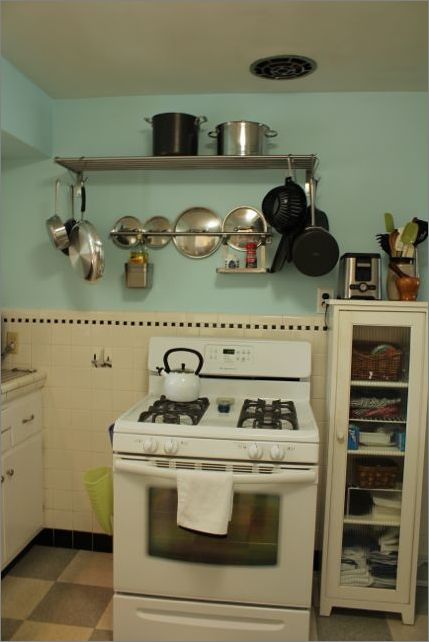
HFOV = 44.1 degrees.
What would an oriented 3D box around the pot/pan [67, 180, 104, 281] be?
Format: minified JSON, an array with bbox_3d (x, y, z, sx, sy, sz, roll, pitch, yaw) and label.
[{"bbox_3d":[-0.566,-0.376,2.302,0.057,0.385,0.233,-6,4,-30],"label":"pot/pan"}]

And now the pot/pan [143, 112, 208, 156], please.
[{"bbox_3d":[-0.164,-0.787,2.243,0.259,0.185,0.165,2,6,2],"label":"pot/pan"}]

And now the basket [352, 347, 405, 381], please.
[{"bbox_3d":[0.641,0.167,2.074,0.171,0.117,0.129,-2,-1,17],"label":"basket"}]

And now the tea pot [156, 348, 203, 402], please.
[{"bbox_3d":[-0.137,0.204,2.044,0.183,0.197,0.148,2,7,9],"label":"tea pot"}]

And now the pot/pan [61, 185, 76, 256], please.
[{"bbox_3d":[-0.665,-0.471,2.436,0.047,0.295,0.176,-4,-2,-2],"label":"pot/pan"}]

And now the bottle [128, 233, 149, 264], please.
[{"bbox_3d":[-0.346,-0.331,2.426,0.081,0.131,0.105,1,6,-6],"label":"bottle"}]

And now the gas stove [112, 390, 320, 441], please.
[{"bbox_3d":[0.039,0.278,2.025,0.712,0.120,0.642,2,5,7],"label":"gas stove"}]

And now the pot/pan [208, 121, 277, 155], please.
[{"bbox_3d":[0.116,-0.757,2.242,0.243,0.120,0.166,0,-2,-1],"label":"pot/pan"}]

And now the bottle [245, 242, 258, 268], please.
[{"bbox_3d":[0.164,-0.297,2.357,0.049,0.113,0.057,1,6,-1],"label":"bottle"}]

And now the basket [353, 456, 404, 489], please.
[{"bbox_3d":[0.653,0.601,2.130,0.190,0.110,0.138,4,5,-2],"label":"basket"}]
